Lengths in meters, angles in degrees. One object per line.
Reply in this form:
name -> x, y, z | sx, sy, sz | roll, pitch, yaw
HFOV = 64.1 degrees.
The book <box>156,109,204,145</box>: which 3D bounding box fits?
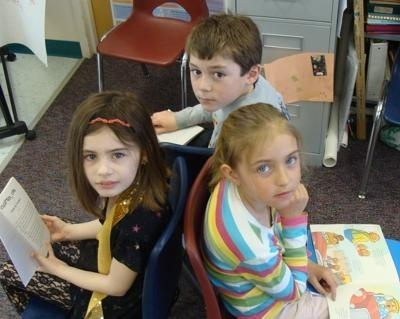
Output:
book -> -0.089, -0.109, 1.464 | 0.163, 0.052, 0.189 | -20, 44, 13
